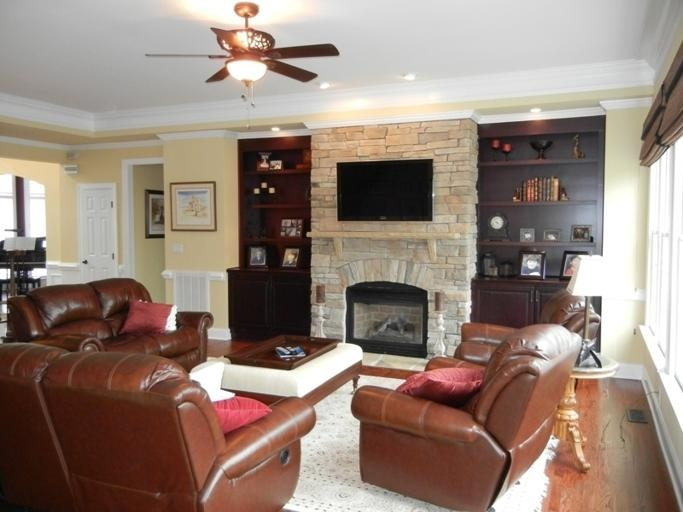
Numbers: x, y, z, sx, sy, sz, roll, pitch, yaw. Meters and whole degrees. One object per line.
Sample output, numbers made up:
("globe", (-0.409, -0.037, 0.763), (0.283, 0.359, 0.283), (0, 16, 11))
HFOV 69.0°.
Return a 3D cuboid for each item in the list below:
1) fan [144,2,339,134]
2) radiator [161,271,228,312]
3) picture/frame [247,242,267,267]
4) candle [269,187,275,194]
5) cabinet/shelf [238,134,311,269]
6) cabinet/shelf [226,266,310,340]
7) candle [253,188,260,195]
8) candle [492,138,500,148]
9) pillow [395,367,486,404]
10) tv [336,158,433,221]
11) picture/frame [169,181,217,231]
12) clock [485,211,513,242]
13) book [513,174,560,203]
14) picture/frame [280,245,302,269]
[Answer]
("fan", (-0.738, -1.479, 3.792), (1.255, 0.704, 1.176), (2, 1, -9))
("radiator", (-2.118, 0.518, 7.270), (0.681, 0.513, 0.095), (0, 0, 12))
("picture/frame", (-1.273, -0.012, 7.428), (0.394, 0.409, 0.074), (-1, -6, 0))
("candle", (-1.062, -0.997, 7.566), (0.108, 0.096, 0.024), (1, 10, 0))
("cabinet/shelf", (-0.975, -0.780, 7.386), (1.144, 1.915, 0.381), (2, 3, 21))
("cabinet/shelf", (-1.005, 0.658, 7.015), (1.180, 0.891, 0.400), (0, -1, 16))
("candle", (-1.304, -0.989, 7.553), (0.110, 0.099, 0.013), (4, 30, 1))
("candle", (1.930, -1.415, 6.226), (0.129, 0.119, 0.126), (-16, 21, -33))
("pillow", (0.585, 0.787, 2.992), (0.312, 0.089, 0.319), (-12, -9, 36))
("tv", (0.578, -0.833, 6.147), (0.891, 0.499, 0.065), (1, 7, 19))
("picture/frame", (-2.161, -0.755, 7.293), (0.799, 0.727, 0.054), (3, 10, 20))
("clock", (2.002, -0.377, 6.340), (0.384, 0.385, 0.337), (3, 9, 25))
("book", (2.437, -0.825, 6.239), (0.616, 0.318, 0.408), (3, 1, 9))
("picture/frame", (-0.729, 0.022, 7.223), (0.380, 0.420, 0.058), (4, -21, 8))
